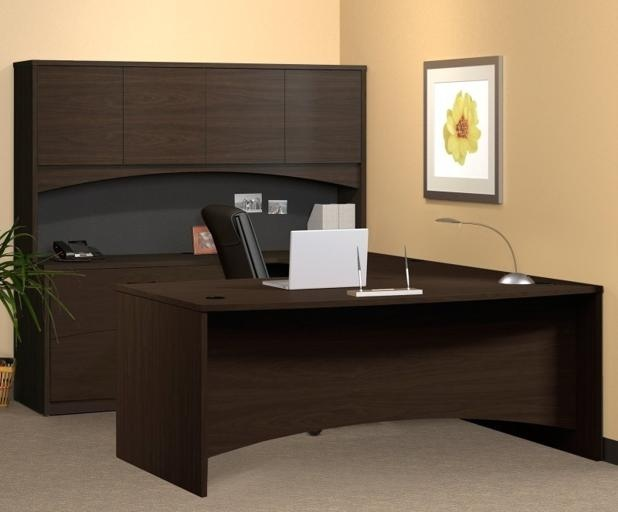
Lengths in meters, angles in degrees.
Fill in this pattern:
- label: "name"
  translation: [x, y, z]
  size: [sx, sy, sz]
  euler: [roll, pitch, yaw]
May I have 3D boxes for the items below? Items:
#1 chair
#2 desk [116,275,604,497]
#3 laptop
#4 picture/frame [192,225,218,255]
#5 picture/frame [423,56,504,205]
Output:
- label: "chair"
  translation: [-0.446, -0.085, 3.193]
  size: [0.426, 0.433, 0.259]
  euler: [-2, -4, 38]
- label: "desk"
  translation: [0.338, 0.599, 2.760]
  size: [2.457, 0.914, 0.945]
  euler: [2, -4, -19]
- label: "laptop"
  translation: [0.067, 0.006, 2.525]
  size: [0.412, 0.262, 0.289]
  euler: [-2, 6, -31]
- label: "picture/frame"
  translation: [-0.832, -0.120, 4.370]
  size: [0.265, 0.303, 0.021]
  euler: [3, -20, -19]
- label: "picture/frame"
  translation: [1.109, -0.914, 3.918]
  size: [0.121, 1.151, 0.740]
  euler: [2, -4, -29]
